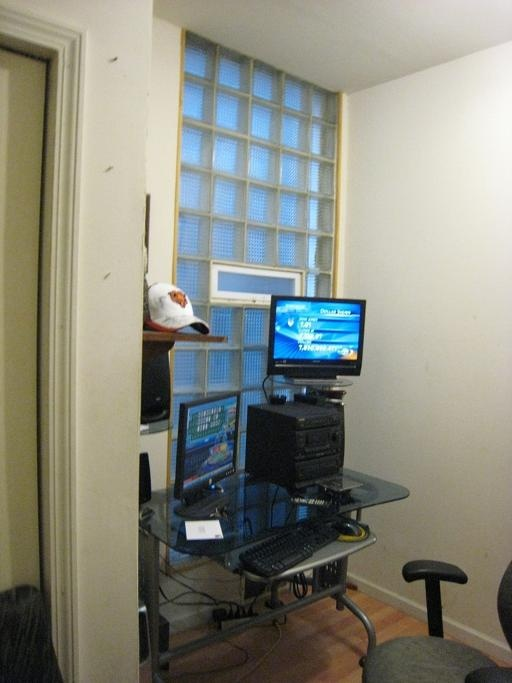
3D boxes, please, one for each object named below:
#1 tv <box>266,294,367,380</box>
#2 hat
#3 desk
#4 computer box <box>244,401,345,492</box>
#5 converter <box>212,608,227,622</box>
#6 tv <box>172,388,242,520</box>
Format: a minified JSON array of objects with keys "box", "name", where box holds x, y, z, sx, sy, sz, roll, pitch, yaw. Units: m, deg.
[{"box":[0.304,-0.008,2.866,0.462,0.401,0.099,2,-16,37],"name":"tv"},{"box":[-0.242,-0.081,1.752,0.171,0.089,0.123,29,23,21],"name":"hat"},{"box":[0.037,0.941,2.419,0.980,0.634,0.523,-5,11,-40],"name":"desk"},{"box":[0.150,0.409,2.586,0.340,0.298,0.343,-2,3,-43],"name":"computer box"},{"box":[-0.168,1.255,2.792,0.063,0.057,0.040,3,-3,-42],"name":"converter"},{"box":[-0.186,0.448,2.335,0.132,0.435,0.415,4,4,22],"name":"tv"}]
